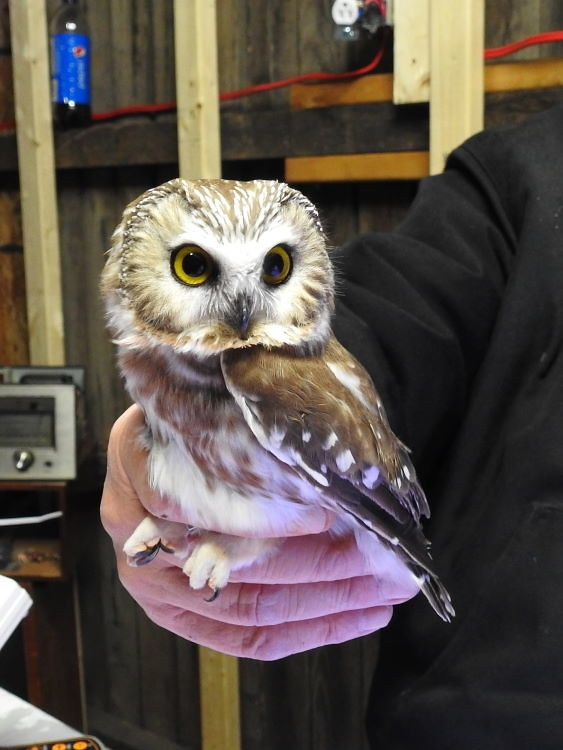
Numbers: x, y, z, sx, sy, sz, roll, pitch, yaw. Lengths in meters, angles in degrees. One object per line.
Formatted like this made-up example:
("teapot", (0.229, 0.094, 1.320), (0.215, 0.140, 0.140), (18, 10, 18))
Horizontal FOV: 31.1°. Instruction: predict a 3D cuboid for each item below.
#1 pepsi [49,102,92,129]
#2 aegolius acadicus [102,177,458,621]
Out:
("pepsi", (-0.448, -0.543, 2.141), (0.063, 0.051, 0.014), (2, 24, 0))
("aegolius acadicus", (0.018, 0.021, 1.325), (0.498, 0.512, 0.325), (0, 15, -18))
